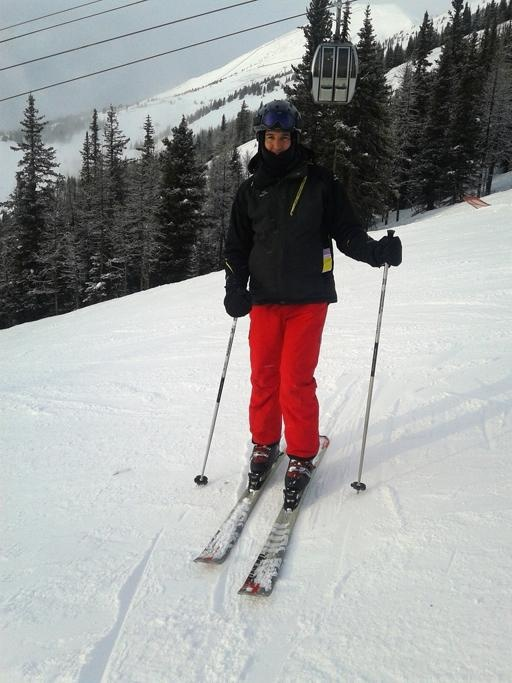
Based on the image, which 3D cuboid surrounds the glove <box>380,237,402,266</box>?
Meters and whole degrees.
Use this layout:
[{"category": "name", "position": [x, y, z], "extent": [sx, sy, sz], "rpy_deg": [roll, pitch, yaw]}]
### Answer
[{"category": "glove", "position": [0.701, -0.467, 3.138], "extent": [0.127, 0.147, 0.054], "rpy_deg": [-3, -4, -4]}]

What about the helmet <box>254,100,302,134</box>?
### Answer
[{"category": "helmet", "position": [0.113, -1.160, 3.159], "extent": [0.178, 0.200, 0.175], "rpy_deg": [5, 15, 3]}]

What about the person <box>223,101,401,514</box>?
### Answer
[{"category": "person", "position": [0.232, -0.286, 3.330], "extent": [0.780, 2.005, 0.833], "rpy_deg": [-13, 17, -30]}]

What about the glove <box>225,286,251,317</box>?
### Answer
[{"category": "glove", "position": [-0.094, -0.217, 3.239], "extent": [0.134, 0.163, 0.061], "rpy_deg": [4, -19, 15]}]
